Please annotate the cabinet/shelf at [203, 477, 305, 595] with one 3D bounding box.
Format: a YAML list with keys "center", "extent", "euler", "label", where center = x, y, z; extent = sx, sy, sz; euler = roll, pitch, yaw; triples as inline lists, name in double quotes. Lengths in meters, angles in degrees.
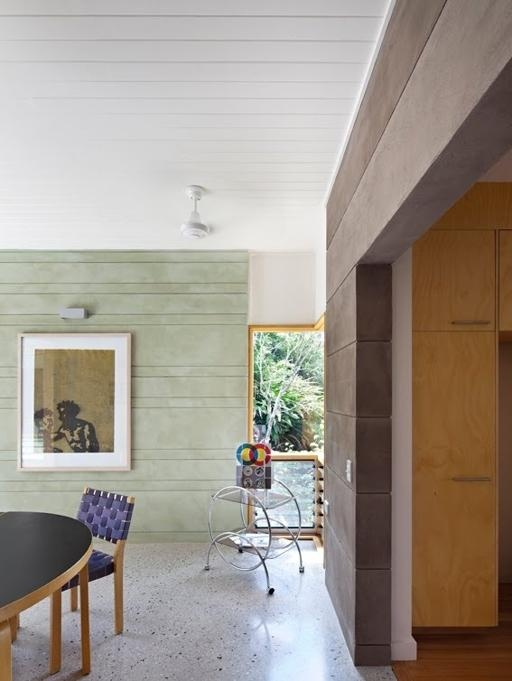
- center: [0.001, 1.277, 4.170]
  extent: [0.569, 0.772, 0.665]
  euler: [-4, -10, 34]
  label: "cabinet/shelf"

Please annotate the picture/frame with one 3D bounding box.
- center: [-1.326, 0.499, 4.567]
  extent: [0.967, 1.223, 0.077]
  euler: [-1, -5, 0]
  label: "picture/frame"

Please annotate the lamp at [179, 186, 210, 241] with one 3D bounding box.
- center: [-0.335, -0.715, 3.472]
  extent: [0.200, 0.330, 0.205]
  euler: [0, -5, 1]
  label: "lamp"
